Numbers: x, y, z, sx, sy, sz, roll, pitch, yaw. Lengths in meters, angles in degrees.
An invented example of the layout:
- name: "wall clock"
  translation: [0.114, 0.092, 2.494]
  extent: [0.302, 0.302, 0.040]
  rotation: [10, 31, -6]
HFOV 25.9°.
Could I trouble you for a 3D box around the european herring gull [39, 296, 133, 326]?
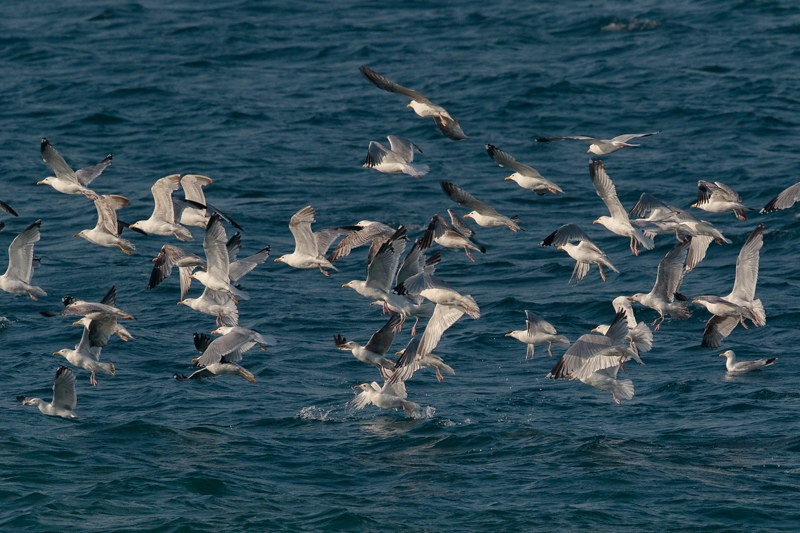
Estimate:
- name: "european herring gull"
  translation: [-10.490, 1.408, 58.676]
  extent: [1.470, 1.820, 0.385]
  rotation: [-9, 94, 8]
